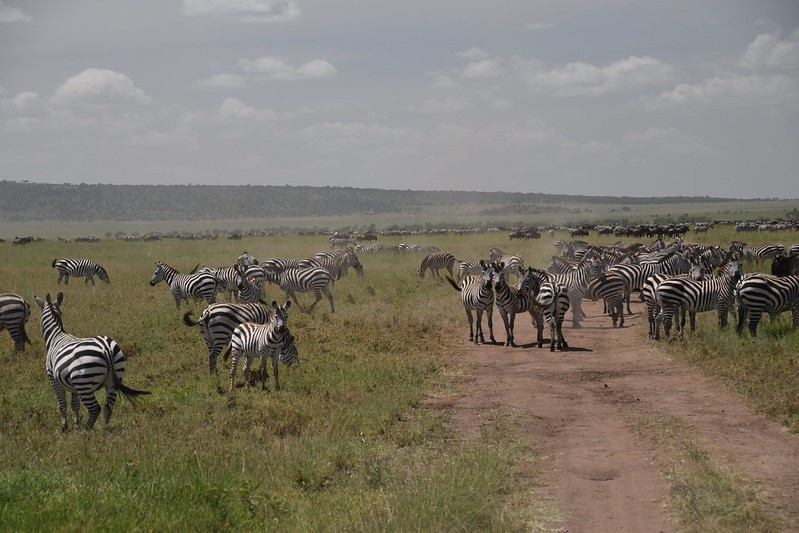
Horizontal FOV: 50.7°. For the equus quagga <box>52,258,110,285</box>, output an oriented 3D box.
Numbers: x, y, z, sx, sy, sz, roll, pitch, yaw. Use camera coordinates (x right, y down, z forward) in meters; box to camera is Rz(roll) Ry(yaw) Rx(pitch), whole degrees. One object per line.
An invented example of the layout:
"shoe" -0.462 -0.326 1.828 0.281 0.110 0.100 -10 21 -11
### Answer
"equus quagga" -14.760 0.261 38.677 2.127 1.223 2.458 -6 6 -41
